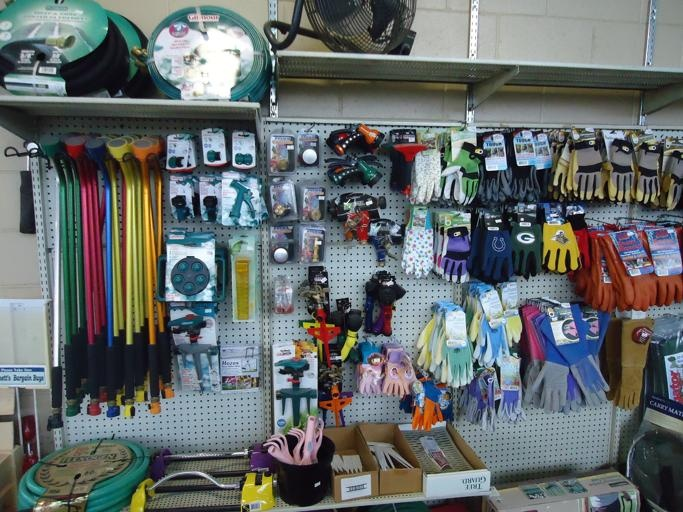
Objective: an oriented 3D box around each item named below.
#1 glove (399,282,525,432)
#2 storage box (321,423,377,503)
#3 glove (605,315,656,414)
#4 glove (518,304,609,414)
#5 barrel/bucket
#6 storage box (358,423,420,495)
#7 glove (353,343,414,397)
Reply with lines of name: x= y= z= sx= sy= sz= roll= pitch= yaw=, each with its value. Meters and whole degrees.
glove: x=0.685 y=0.484 z=3.648 sx=0.611 sy=0.729 sz=0.207 roll=-1 pitch=11 yaw=-12
storage box: x=0.052 y=1.003 z=3.394 sx=0.174 sy=0.139 sz=0.330 roll=-3 pitch=18 yaw=-6
glove: x=1.511 y=0.559 z=3.685 sx=0.242 sy=0.463 sz=0.117 roll=-2 pitch=2 yaw=25
glove: x=1.128 y=0.525 z=3.501 sx=0.481 sy=0.558 sz=0.170 roll=-1 pitch=-2 yaw=-3
barrel/bucket: x=-0.192 y=0.997 z=3.302 sx=0.284 sy=0.215 sz=0.252 roll=-6 pitch=10 yaw=-33
storage box: x=0.257 y=0.973 z=3.429 sx=0.173 sy=0.122 sz=0.347 roll=-2 pitch=17 yaw=-8
glove: x=0.208 y=0.570 z=3.496 sx=0.241 sy=0.156 sz=0.337 roll=0 pitch=0 yaw=2
